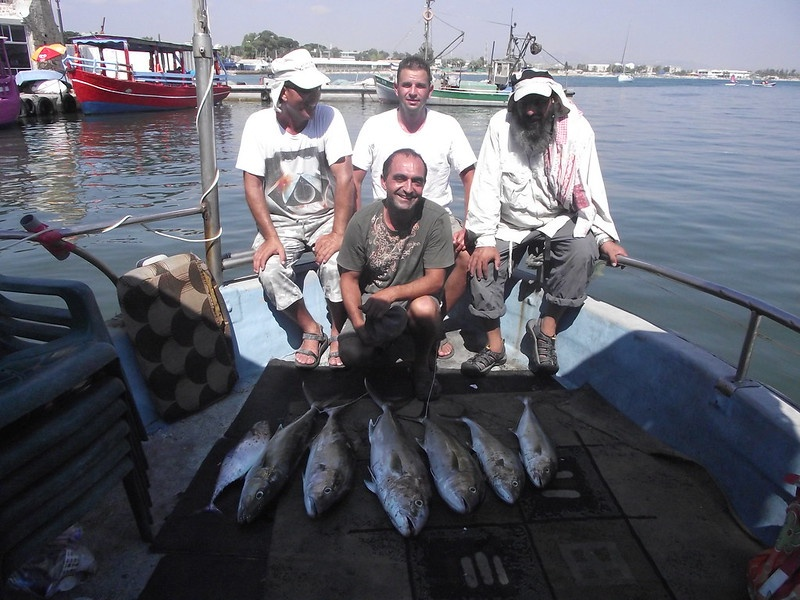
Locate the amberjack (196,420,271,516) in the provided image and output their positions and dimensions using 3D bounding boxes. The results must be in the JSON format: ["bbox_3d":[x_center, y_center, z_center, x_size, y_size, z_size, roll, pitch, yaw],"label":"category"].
[{"bbox_3d":[-1.064,1.088,2.930,0.224,0.173,0.618,19,28,6],"label":"amberjack"}]

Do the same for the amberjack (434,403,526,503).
[{"bbox_3d":[0.627,1.061,3.123,0.285,0.205,0.940,21,15,-20],"label":"amberjack"}]

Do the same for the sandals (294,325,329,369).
[{"bbox_3d":[-0.798,0.435,4.076,0.168,0.180,0.487,1,30,4],"label":"sandals"}]

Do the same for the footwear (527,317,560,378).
[{"bbox_3d":[1.295,0.473,4.151,0.189,0.257,0.575,2,65,-12],"label":"footwear"}]

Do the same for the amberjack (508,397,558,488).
[{"bbox_3d":[0.922,0.986,3.107,0.206,0.141,0.553,-20,18,1],"label":"amberjack"}]

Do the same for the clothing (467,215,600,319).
[{"bbox_3d":[1.398,-0.249,4.339,0.915,1.018,0.466,12,7,20],"label":"clothing"}]

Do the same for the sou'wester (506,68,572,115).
[{"bbox_3d":[1.234,-1.813,3.926,0.463,0.276,0.347,10,6,-1],"label":"sou'wester"}]

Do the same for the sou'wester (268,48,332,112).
[{"bbox_3d":[-0.871,-1.915,3.937,0.413,0.317,0.528,-25,39,-35],"label":"sou'wester"}]

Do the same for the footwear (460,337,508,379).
[{"bbox_3d":[0.799,0.529,4.140,0.488,0.208,0.189,-21,25,-37],"label":"footwear"}]

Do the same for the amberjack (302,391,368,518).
[{"bbox_3d":[-0.468,1.040,2.933,0.182,0.183,0.611,28,19,-13],"label":"amberjack"}]

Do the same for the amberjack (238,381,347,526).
[{"bbox_3d":[-0.728,1.044,2.990,0.276,0.194,0.856,-19,21,32],"label":"amberjack"}]
